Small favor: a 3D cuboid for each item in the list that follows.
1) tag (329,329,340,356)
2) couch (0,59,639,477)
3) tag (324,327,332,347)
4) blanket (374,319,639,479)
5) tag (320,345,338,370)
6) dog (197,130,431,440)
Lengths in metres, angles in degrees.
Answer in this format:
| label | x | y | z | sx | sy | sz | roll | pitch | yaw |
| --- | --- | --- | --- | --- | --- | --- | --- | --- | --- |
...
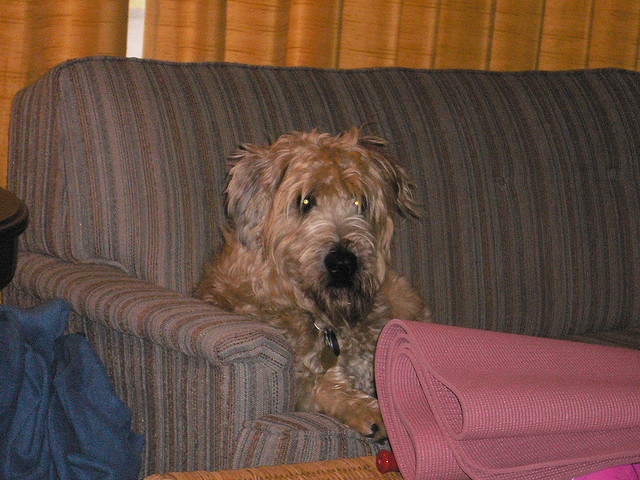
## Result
| label | x | y | z | sx | sy | sz | roll | pitch | yaw |
| --- | --- | --- | --- | --- | --- | --- | --- | --- | --- |
| tag | 0.048 | 0.359 | 2.514 | 0.035 | 0.085 | 0.040 | 3 | -1 | -3 |
| couch | -0.087 | 0.084 | 2.455 | 1.484 | 0.817 | 0.683 | -3 | 10 | -26 |
| tag | 0.022 | 0.342 | 2.528 | 0.019 | 0.069 | 0.017 | -28 | -32 | 28 |
| blanket | 0.399 | 0.357 | 1.535 | 0.469 | 0.341 | 0.185 | 0 | -42 | -18 |
| tag | 0.027 | 0.414 | 2.512 | 0.065 | 0.063 | 0.015 | -4 | -13 | -31 |
| dog | -0.016 | 0.088 | 3.164 | 1.033 | 1.118 | 1.823 | -4 | 9 | -5 |
